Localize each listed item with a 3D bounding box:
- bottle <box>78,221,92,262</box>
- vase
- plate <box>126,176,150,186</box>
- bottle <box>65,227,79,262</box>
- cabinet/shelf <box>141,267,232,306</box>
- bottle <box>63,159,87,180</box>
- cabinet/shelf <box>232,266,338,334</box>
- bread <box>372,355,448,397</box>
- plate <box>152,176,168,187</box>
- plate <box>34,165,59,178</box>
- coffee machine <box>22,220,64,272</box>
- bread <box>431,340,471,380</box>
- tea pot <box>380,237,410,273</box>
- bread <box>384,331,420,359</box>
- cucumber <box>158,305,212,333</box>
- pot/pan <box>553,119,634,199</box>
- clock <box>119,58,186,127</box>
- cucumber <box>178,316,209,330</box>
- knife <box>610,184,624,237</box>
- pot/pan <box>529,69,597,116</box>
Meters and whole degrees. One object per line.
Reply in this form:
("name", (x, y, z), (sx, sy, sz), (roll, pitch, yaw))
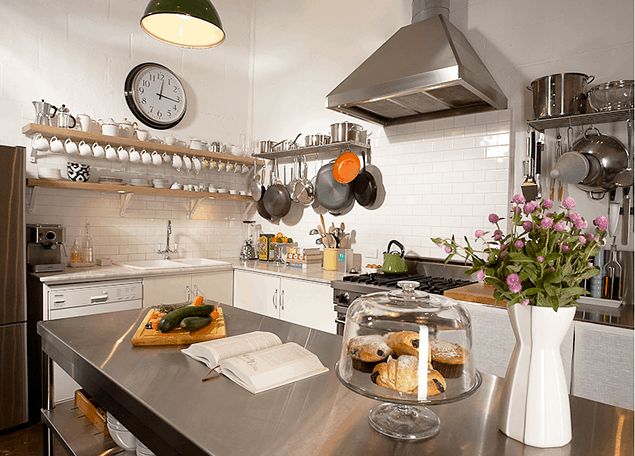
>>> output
("bottle", (-2.202, 0.139, 4.090), (0.110, 0.364, 0.239), (-8, 15, -28))
("vase", (0.725, 0.470, 1.391), (0.228, 0.427, 0.191), (6, 15, 25))
("plate", (-1.771, -0.469, 4.310), (0.129, 0.050, 0.130), (1, 1, 30))
("bottle", (-2.277, 0.170, 4.018), (0.135, 0.294, 0.245), (-7, 15, -25))
("cabinet/shelf", (-1.242, 0.531, 3.996), (0.425, 0.352, 0.164), (1, -2, -40))
("bottle", (-2.205, -0.525, 3.928), (0.180, 0.176, 0.175), (-6, 14, -21))
("cabinet/shelf", (-0.319, 0.700, 4.218), (1.103, 0.540, 0.346), (4, 5, 15))
("bread", (0.287, 0.457, 1.363), (0.221, 0.098, 0.125), (0, 3, 30))
("plate", (-1.594, -0.471, 4.395), (0.094, 0.086, 0.124), (-12, -20, 42))
("plate", (-2.351, -0.490, 3.734), (0.134, 0.095, 0.134), (2, 4, -2))
("coffee machine", (-2.315, 0.147, 3.665), (0.350, 0.403, 0.277), (6, 6, 41))
("bread", (0.428, 0.445, 1.390), (0.102, 0.060, 0.092), (-2, -12, 30))
("tea pot", (0.710, 0.228, 3.920), (0.216, 0.281, 0.415), (2, 13, 13))
("bread", (0.263, 0.358, 1.345), (0.107, 0.069, 0.041), (4, 14, 19))
("cucumber", (-0.626, 0.429, 2.091), (0.108, 0.066, 0.205), (10, 12, 37))
("pot/pan", (1.890, -0.456, 2.971), (0.433, 0.497, 0.361), (8, 16, 33))
("clock", (-1.718, -1.489, 4.650), (0.066, 0.686, 0.693), (-2, 3, 44))
("cucumber", (-0.600, 0.451, 2.091), (0.060, 0.038, 0.126), (6, -1, 27))
("knife", (2.022, -0.075, 2.930), (0.071, 0.246, 0.075), (10, -3, -37))
("pot/pan", (1.747, -0.936, 3.118), (0.382, 0.285, 0.393), (-3, 1, -32))
